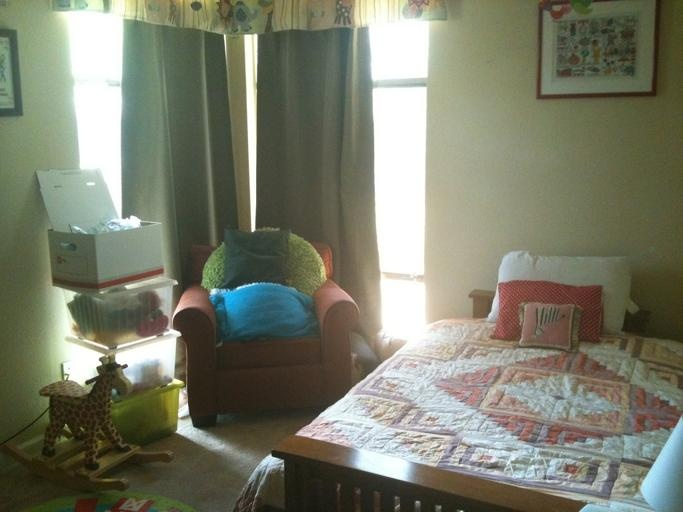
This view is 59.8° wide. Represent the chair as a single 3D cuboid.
[{"bbox_3d":[-0.468,0.516,3.634,0.921,0.847,0.861,-2,4,-12],"label":"chair"}]

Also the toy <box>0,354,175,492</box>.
[{"bbox_3d":[-1.400,0.874,3.391,1.104,0.751,0.461,2,4,26],"label":"toy"}]
